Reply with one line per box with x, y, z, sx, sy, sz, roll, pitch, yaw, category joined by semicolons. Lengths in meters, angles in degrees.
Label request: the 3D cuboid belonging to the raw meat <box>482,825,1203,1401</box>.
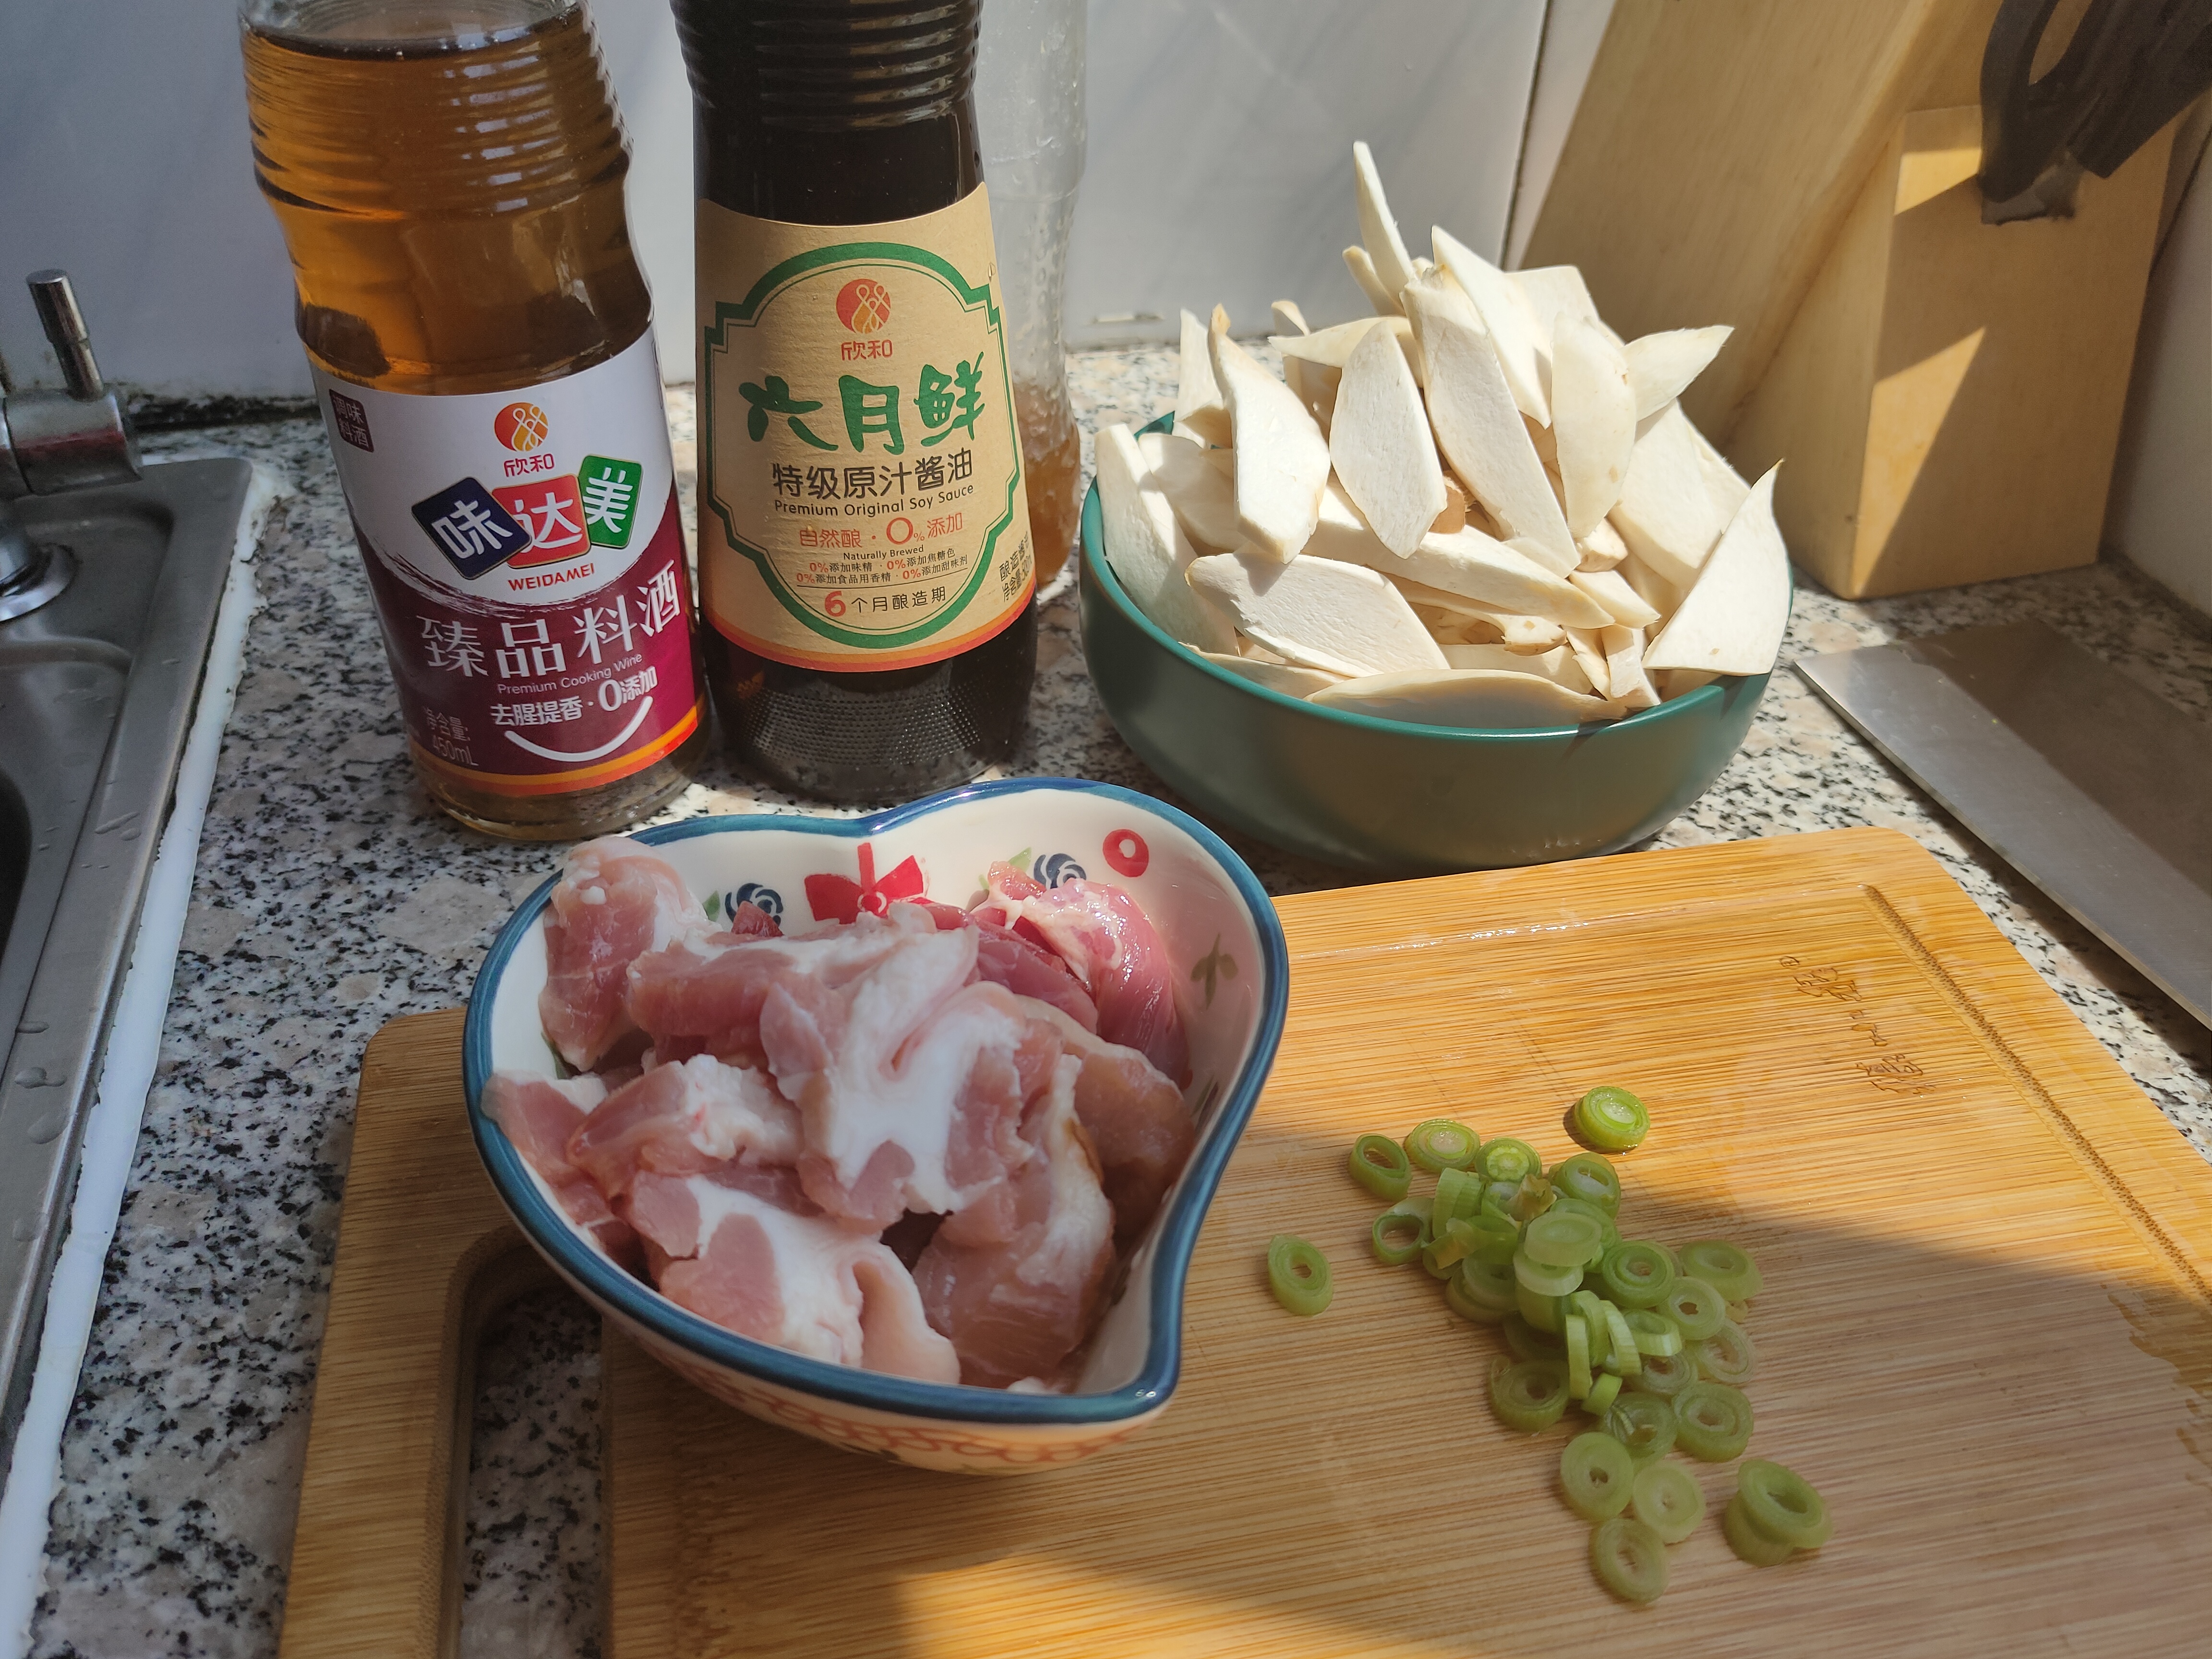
-0.106;0.109;0.820;0.296;0.097;0.249;4;48;2;raw meat

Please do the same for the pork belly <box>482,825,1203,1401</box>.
-0.107;0.051;0.749;0.245;0.098;0.245;12;44;8;pork belly
